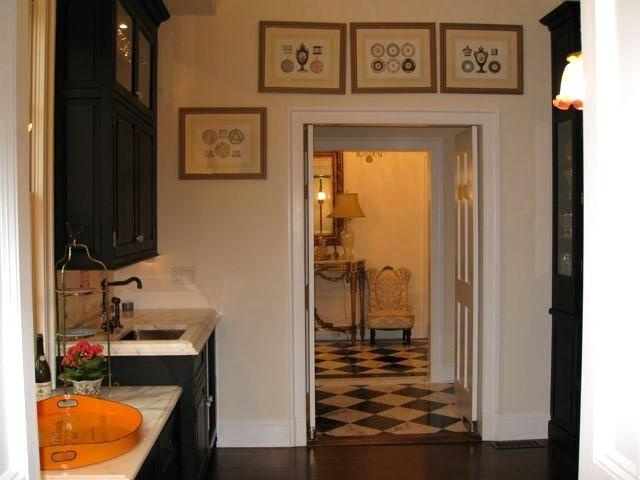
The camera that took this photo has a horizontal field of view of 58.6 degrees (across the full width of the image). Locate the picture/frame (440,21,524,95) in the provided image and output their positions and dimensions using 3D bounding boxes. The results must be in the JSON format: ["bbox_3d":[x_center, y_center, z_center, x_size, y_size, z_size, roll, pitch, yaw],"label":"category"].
[{"bbox_3d":[1.207,-1.404,4.357,0.514,0.463,0.042,0,4,0],"label":"picture/frame"}]

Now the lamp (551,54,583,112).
[{"bbox_3d":[1.128,-0.737,2.594,0.121,0.295,0.410,1,5,22],"label":"lamp"}]

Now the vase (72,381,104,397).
[{"bbox_3d":[-1.189,0.756,2.930,0.107,0.085,0.107,1,5,-11],"label":"vase"}]

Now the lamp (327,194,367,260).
[{"bbox_3d":[0.355,-0.185,7.434,0.439,0.851,0.364,0,4,1],"label":"lamp"}]

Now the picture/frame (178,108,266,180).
[{"bbox_3d":[-0.757,-0.741,4.303,0.494,0.439,0.040,0,6,-1],"label":"picture/frame"}]

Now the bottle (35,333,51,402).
[{"bbox_3d":[-1.412,0.641,2.932,0.072,0.339,0.199,-3,5,-26],"label":"bottle"}]

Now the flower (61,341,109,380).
[{"bbox_3d":[-1.232,0.623,3.011,0.196,0.223,0.211,2,2,-18],"label":"flower"}]

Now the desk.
[{"bbox_3d":[0.376,0.780,7.570,0.781,0.967,0.828,-2,-5,-24],"label":"desk"}]

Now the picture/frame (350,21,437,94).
[{"bbox_3d":[0.539,-1.401,4.328,0.498,0.453,0.035,-1,-1,-2],"label":"picture/frame"}]

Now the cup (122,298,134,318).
[{"bbox_3d":[-1.411,0.512,4.244,0.098,0.120,0.100,0,4,0],"label":"cup"}]
